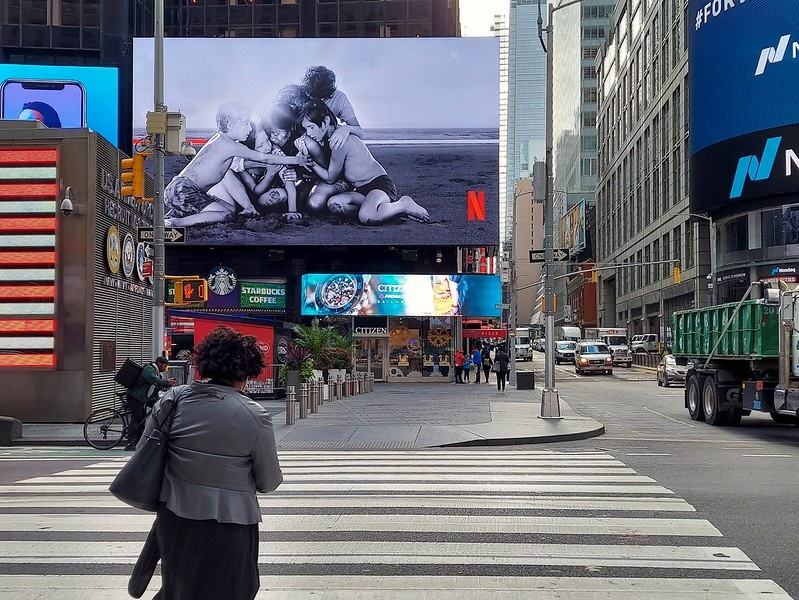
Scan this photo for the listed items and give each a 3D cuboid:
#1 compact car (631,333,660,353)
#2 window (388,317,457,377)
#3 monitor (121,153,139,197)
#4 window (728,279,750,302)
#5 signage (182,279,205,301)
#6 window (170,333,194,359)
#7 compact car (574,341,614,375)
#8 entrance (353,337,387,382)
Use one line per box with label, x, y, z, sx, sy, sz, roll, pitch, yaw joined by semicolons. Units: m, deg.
compact car;20.031;3.451;72.430;1.878;1.080;1.401;3;-7;-13
window;1.098;2.399;47.371;2.653;2.789;0.955;0;5;-1
monitor;-6.335;-2.917;21.384;0.451;1.051;1.192;2;-3;-18
window;18.365;-0.599;48.742;0.484;1.683;0.968;7;-4;-27
signage;-6.560;-0.310;28.883;0.672;0.681;0.275;0;-6;-7
window;-11.461;2.388;47.442;0.940;1.869;1.871;0;-1;0
compact car;12.024;3.518;55.558;2.079;2.008;2.572;0;-3;14
entrance;-1.507;2.920;46.048;2.049;2.834;0.316;-1;-3;-9
